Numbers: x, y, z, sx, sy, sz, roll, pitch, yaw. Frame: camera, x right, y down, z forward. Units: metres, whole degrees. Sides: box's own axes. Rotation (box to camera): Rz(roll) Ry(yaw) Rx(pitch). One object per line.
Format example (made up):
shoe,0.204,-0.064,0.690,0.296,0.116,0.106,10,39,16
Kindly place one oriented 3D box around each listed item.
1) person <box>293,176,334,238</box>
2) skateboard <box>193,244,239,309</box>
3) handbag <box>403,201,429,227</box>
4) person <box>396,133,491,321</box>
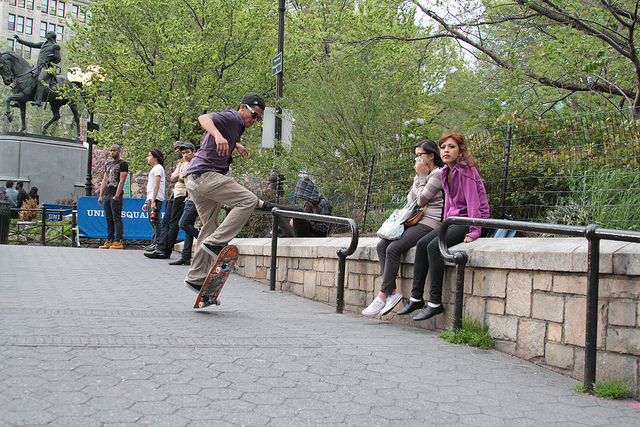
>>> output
person,-0.145,-0.092,9.467,0.652,1.038,0.582,4,3,-2
skateboard,-1.318,0.833,6.524,0.320,0.161,1.147,2,-43,-39
handbag,1.167,0.025,6.587,0.318,0.125,0.082,-38,16,-7
person,1.486,0.174,6.309,0.894,1.559,0.706,3,3,-31
